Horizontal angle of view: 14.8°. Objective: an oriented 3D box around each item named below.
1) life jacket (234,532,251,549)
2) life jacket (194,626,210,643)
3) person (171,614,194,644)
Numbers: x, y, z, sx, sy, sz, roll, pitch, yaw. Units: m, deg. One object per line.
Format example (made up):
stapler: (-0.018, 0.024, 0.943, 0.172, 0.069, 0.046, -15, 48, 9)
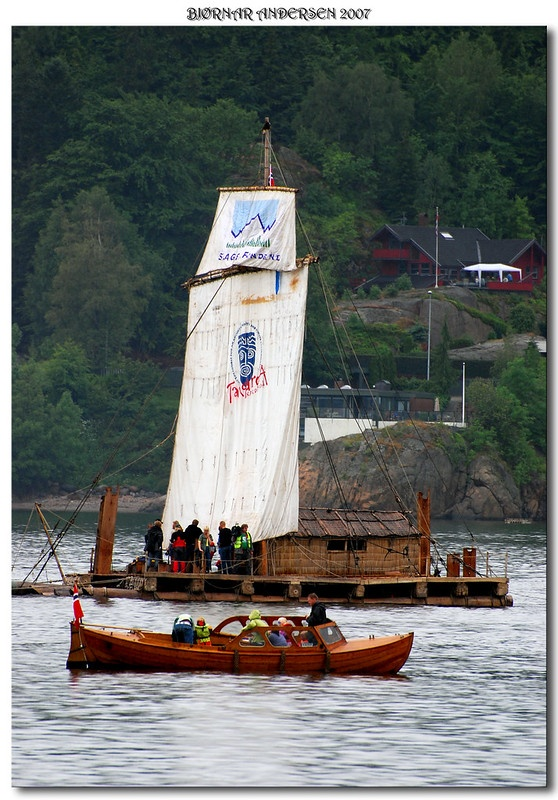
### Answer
life jacket: (-1.155, 4.414, 66.496, 0.562, 0.781, 0.378, 2, -6, -14)
life jacket: (-1.966, 5.884, 53.703, 0.490, 0.648, 0.312, 1, -5, -11)
person: (-2.385, 5.697, 53.189, 0.394, 0.840, 0.321, 1, 10, 2)
